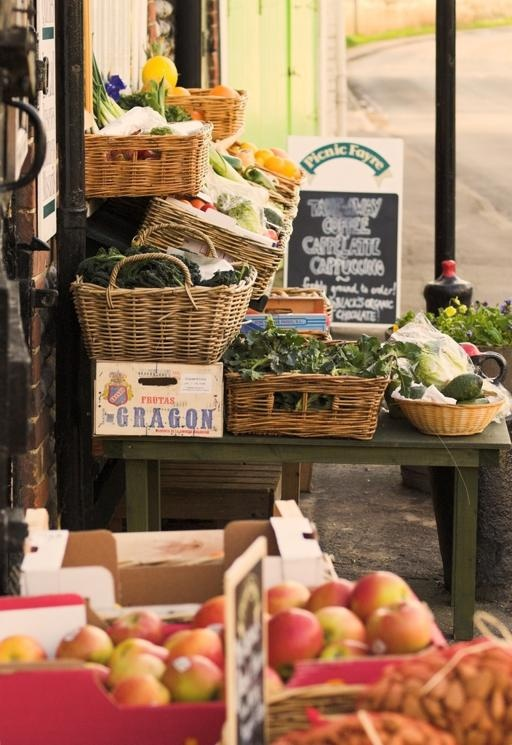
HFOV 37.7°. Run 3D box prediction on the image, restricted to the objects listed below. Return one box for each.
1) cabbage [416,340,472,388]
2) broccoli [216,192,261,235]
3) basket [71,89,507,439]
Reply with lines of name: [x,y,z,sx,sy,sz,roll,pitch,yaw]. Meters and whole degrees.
cabbage: [0.807,-0.039,3.179,0.193,0.200,0.197,-10,18,-26]
broccoli: [-0.042,-0.787,3.660,0.301,0.205,0.246,-1,18,3]
basket: [-0.177,-0.454,3.178,1.165,1.324,1.133,-2,14,-11]
